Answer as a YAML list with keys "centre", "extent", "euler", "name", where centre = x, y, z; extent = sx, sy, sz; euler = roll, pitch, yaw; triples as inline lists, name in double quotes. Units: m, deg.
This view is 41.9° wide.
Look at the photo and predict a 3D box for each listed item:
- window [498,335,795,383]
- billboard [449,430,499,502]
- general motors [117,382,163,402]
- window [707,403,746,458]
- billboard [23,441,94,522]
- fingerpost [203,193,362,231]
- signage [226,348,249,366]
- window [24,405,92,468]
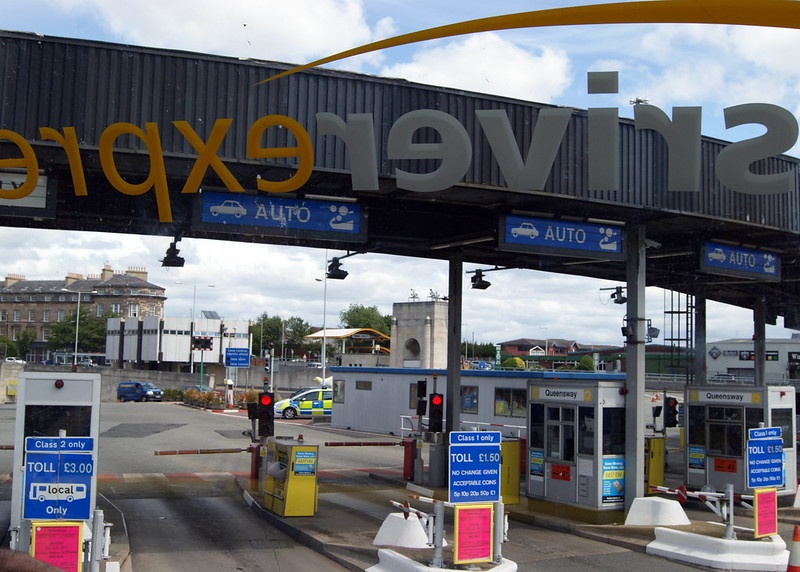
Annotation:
- centre: [14.656, 4.345, 59.135]
  extent: [6.717, 2.380, 7.551]
  euler: [8, -9, -27]
  name: "window"
- centre: [1.478, 3.741, 21.189]
  extent: [1.185, 1.451, 0.119]
  euler: [7, -21, -21]
  name: "billboard"
- centre: [-16.721, 6.843, 66.275]
  extent: [2.080, 0.911, 1.371]
  euler: [-4, -8, 20]
  name: "general motors"
- centre: [8.583, 3.847, 27.372]
  extent: [0.112, 1.777, 1.284]
  euler: [13, -13, -42]
  name: "window"
- centre: [-6.577, 3.774, 20.075]
  extent: [1.254, 1.681, 0.871]
  euler: [4, -19, -22]
  name: "billboard"
- centre: [-2.724, -1.625, 23.811]
  extent: [3.528, 0.728, 0.157]
  euler: [4, -7, -13]
  name: "fingerpost"
- centre: [-9.076, 4.016, 58.124]
  extent: [0.976, 0.842, 0.135]
  euler: [3, -14, -28]
  name: "signage"
- centre: [-7.116, 3.154, 21.737]
  extent: [1.233, 1.245, 0.668]
  euler: [2, -4, -13]
  name: "window"
